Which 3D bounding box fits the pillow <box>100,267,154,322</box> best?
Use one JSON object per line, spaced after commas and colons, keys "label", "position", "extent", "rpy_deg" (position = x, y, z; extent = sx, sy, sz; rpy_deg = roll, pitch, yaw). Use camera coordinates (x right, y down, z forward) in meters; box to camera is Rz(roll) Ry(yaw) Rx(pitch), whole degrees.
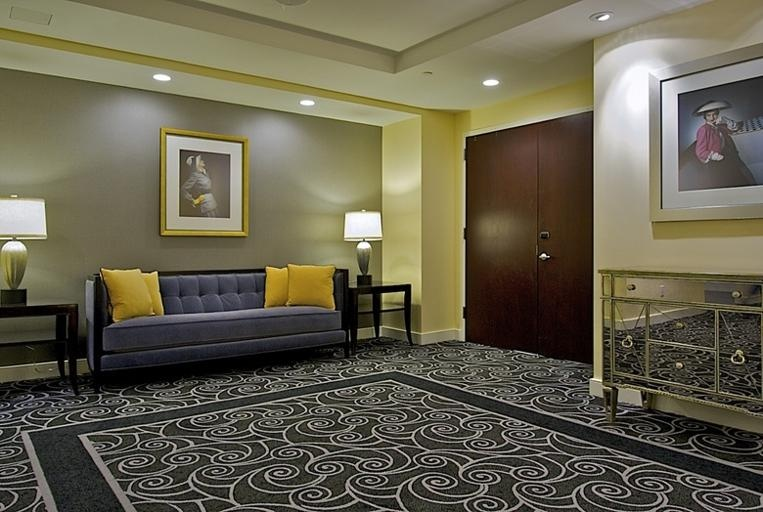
{"label": "pillow", "position": [-2.421, 0.362, 4.494], "extent": [0.271, 0.454, 0.491], "rpy_deg": [4, -1, 12]}

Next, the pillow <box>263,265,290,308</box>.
{"label": "pillow", "position": [-1.185, 0.356, 5.294], "extent": [0.441, 0.472, 0.190], "rpy_deg": [-5, -11, 2]}

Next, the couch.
{"label": "couch", "position": [-1.576, 0.648, 5.038], "extent": [2.609, 1.021, 0.823], "rpy_deg": [1, -5, -35]}

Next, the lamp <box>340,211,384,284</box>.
{"label": "lamp", "position": [-0.242, -0.125, 5.982], "extent": [0.487, 0.878, 0.605], "rpy_deg": [-1, 5, -5]}

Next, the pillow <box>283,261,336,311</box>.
{"label": "pillow", "position": [-0.814, 0.356, 5.289], "extent": [0.537, 0.452, 0.182], "rpy_deg": [0, -11, -5]}

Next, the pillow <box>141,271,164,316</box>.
{"label": "pillow", "position": [-2.266, 0.369, 4.717], "extent": [0.119, 0.351, 0.392], "rpy_deg": [-15, -6, 2]}
